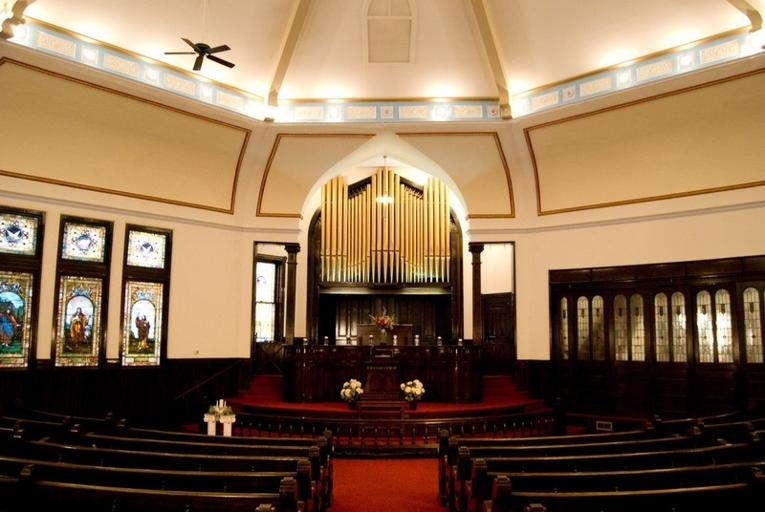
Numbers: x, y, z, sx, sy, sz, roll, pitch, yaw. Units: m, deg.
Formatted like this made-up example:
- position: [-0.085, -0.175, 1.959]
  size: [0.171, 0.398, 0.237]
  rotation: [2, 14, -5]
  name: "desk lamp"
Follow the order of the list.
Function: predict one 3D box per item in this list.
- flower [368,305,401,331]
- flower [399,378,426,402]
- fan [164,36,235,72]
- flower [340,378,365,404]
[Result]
- position: [0.055, 1.774, 16.444]
  size: [0.582, 0.647, 0.548]
  rotation: [0, -6, 27]
  name: "flower"
- position: [0.647, 3.057, 13.347]
  size: [0.465, 0.467, 0.620]
  rotation: [-2, -10, 0]
  name: "flower"
- position: [-3.316, -3.757, 10.759]
  size: [1.250, 0.271, 1.308]
  rotation: [4, -7, -27]
  name: "fan"
- position: [-0.700, 3.084, 13.393]
  size: [0.471, 0.526, 0.646]
  rotation: [-1, -10, -5]
  name: "flower"
